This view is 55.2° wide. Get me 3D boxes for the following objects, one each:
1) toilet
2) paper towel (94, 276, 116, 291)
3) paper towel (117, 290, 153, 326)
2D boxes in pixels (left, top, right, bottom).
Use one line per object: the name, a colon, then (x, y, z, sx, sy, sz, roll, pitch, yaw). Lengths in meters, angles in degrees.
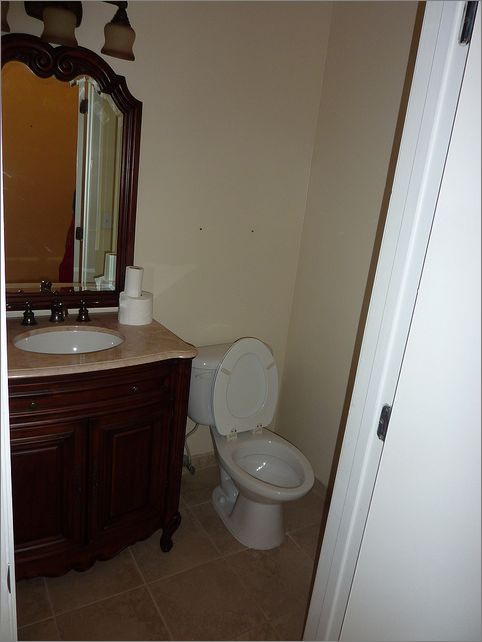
toilet: (0.059, 0.550, 2.036, 0.341, 0.779, 0.690, -4, 17, -30)
paper towel: (-0.547, -0.163, 1.899, 0.051, 0.049, 0.055, -4, 14, -24)
paper towel: (-0.417, -0.059, 1.862, 0.119, 0.106, 0.125, 13, 21, 25)
